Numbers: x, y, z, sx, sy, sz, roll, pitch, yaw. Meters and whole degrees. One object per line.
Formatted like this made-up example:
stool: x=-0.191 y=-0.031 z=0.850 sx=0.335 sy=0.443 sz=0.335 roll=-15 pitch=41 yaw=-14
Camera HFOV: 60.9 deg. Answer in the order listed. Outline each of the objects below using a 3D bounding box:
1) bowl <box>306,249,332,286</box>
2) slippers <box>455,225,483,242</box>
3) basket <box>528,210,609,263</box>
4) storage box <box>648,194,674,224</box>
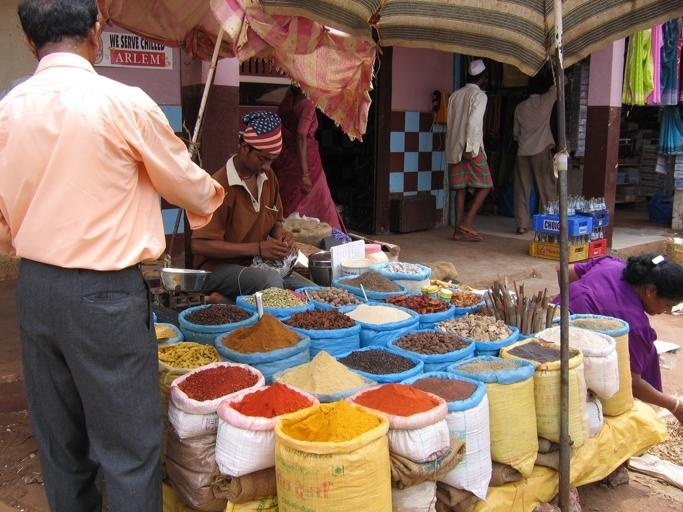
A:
bowl: x=-0.167 y=0.093 z=4.635 sx=0.235 sy=0.262 sz=0.234 roll=0 pitch=13 yaw=0
slippers: x=1.809 y=-0.302 z=8.236 sx=0.355 sy=0.121 sz=0.198 roll=11 pitch=4 yaw=-27
basket: x=2.908 y=-0.240 z=7.570 sx=0.839 sy=0.735 sz=1.097 roll=0 pitch=3 yaw=-19
storage box: x=5.635 y=-0.819 z=10.239 sx=0.443 sy=0.435 sz=0.465 roll=4 pitch=8 yaw=20
